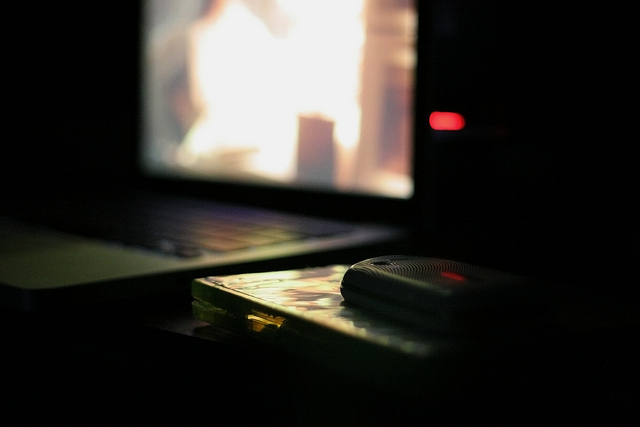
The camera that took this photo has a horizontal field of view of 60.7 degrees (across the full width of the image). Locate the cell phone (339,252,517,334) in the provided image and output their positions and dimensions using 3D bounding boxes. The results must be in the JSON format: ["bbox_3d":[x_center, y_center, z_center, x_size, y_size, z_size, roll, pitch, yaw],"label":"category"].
[{"bbox_3d":[0.142,0.083,0.729,0.140,0.035,0.114,13,12,40],"label":"cell phone"}]
